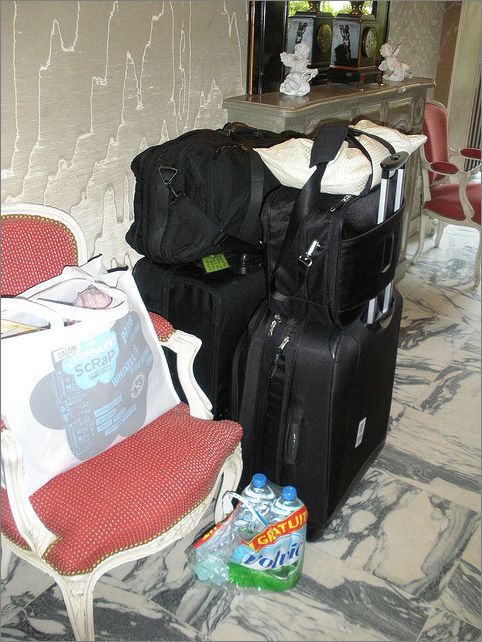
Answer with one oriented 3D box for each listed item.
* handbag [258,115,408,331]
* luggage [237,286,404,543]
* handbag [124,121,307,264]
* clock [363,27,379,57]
[{"bbox_3d":[0.211,-0.214,1.139,0.240,0.442,0.452,15,38,24],"label":"handbag"},{"bbox_3d":[0.235,0.195,1.458,0.352,0.683,0.478,23,40,35],"label":"luggage"},{"bbox_3d":[-0.067,-0.410,1.496,0.349,0.334,0.480,21,30,31],"label":"handbag"},{"bbox_3d":[0.636,-1.387,2.403,0.031,0.136,0.138,11,17,25],"label":"clock"}]
